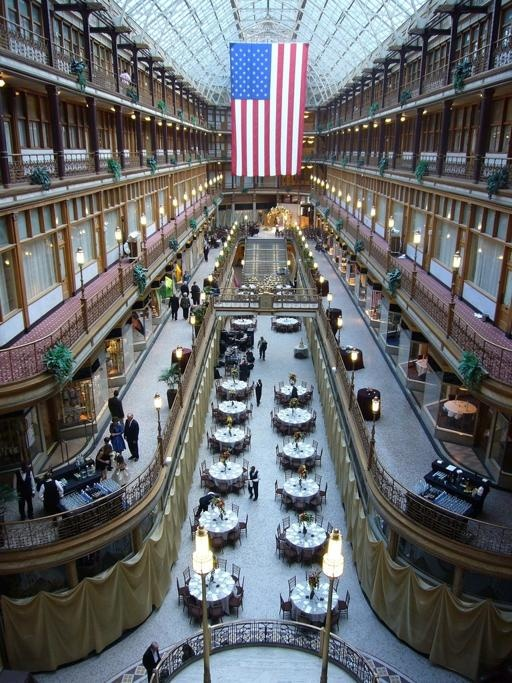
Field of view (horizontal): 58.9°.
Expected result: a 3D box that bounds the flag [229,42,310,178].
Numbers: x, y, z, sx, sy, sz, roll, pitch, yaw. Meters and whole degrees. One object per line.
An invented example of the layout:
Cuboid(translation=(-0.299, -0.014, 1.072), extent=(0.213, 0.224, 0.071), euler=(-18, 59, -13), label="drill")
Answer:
Cuboid(translation=(0.690, -14.033, 27.516), extent=(4.341, 1.663, 6.810), euler=(0, -47, -1), label="flag")

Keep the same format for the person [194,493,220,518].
Cuboid(translation=(-1.514, 5.136, 14.117), extent=(0.320, 0.315, 0.998), euler=(9, -40, -22), label="person")

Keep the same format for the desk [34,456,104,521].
Cuboid(translation=(-3.770, 2.944, 9.250), extent=(1.034, 1.037, 0.752), euler=(-19, -55, -34), label="desk")
